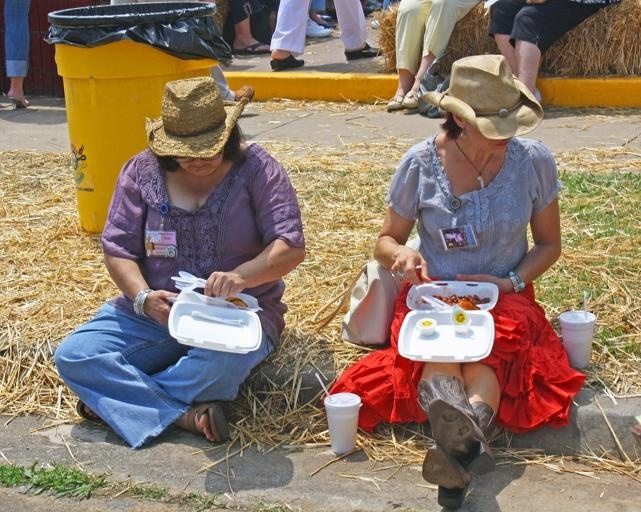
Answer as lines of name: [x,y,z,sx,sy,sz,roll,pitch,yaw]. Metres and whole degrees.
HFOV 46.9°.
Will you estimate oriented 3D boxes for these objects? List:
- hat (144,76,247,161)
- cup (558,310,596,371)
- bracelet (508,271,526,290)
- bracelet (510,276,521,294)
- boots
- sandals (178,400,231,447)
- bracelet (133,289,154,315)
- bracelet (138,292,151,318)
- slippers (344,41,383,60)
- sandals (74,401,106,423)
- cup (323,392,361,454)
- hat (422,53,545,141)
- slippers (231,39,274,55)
hat: [-0.608,-0.697,3.641,0.491,0.364,0.470,-4,17,-11]
cup: [1.292,0.433,3.685,0.248,0.246,0.414,2,18,14]
bracelet: [1.004,0.125,3.732,0.048,0.069,0.063,-30,64,-11]
bracelet: [0.993,0.143,3.725,0.048,0.071,0.066,-34,46,-12]
boots: [0.580,0.811,3.145,0.328,0.517,0.372,2,18,10]
sandals: [-0.578,0.825,3.615,0.254,0.201,0.142,-2,18,-4]
bracelet: [-0.886,0.236,3.667,0.050,0.108,0.119,6,45,14]
bracelet: [-0.878,0.235,3.668,0.073,0.121,0.052,-6,19,-14]
slippers: [0.717,-3.104,11.017,0.709,0.234,0.246,-11,20,-28]
sandals: [-1.196,0.817,3.794,0.136,0.121,0.039,16,54,0]
cup: [0.112,0.802,3.503,0.164,0.305,0.182,-1,18,1]
hat: [0.793,-0.757,3.555,0.623,0.412,0.453,6,23,7]
slippers: [-1.101,-3.480,12.175,0.662,0.131,0.258,6,24,17]
